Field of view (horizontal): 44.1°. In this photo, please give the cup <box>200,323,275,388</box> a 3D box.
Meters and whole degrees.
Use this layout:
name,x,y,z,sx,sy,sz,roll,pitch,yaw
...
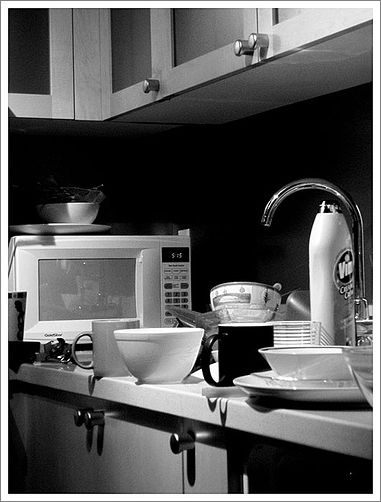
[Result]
name,x,y,z,sx,sy,sz,roll,pitch,yaw
cup,0.055,0.115,0.541,0.084,0.080,0.056,-2,-3,-8

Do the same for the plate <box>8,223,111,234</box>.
name,x,y,z,sx,sy,sz,roll,pitch,yaw
plate,-0.444,-0.073,1.559,0.124,0.016,0.136,-3,-5,18

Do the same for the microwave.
name,x,y,z,sx,sy,sz,roll,pitch,yaw
microwave,-0.300,0.097,1.537,0.502,0.380,0.322,1,-11,-20

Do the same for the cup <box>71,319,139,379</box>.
name,x,y,z,sx,sy,sz,roll,pitch,yaw
cup,-0.132,0.162,0.790,0.120,0.128,0.077,0,-4,-4

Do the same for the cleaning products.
name,x,y,z,sx,sy,sz,roll,pitch,yaw
cleaning products,0.191,0.028,0.624,0.059,0.188,0.052,0,-2,16

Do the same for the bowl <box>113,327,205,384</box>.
name,x,y,z,sx,sy,sz,roll,pitch,yaw
bowl,-0.041,0.137,0.661,0.125,0.085,0.138,-2,4,3
